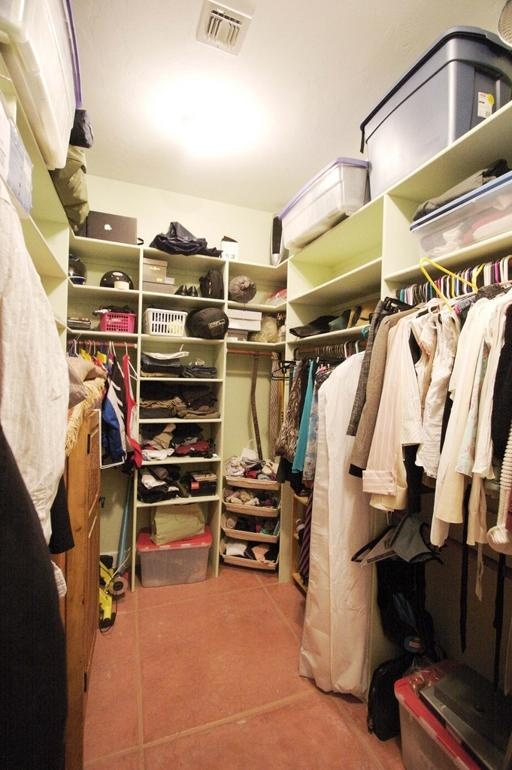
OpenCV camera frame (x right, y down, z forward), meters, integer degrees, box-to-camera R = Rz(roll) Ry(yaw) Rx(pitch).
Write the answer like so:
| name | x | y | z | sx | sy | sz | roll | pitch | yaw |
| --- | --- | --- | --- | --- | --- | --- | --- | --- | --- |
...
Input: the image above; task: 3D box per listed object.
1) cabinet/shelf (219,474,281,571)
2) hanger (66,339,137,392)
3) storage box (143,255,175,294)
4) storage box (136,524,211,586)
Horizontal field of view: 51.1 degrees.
| name | x | y | z | sx | sy | sz | roll | pitch | yaw |
| --- | --- | --- | --- | --- | --- | --- | --- | --- | --- |
| cabinet/shelf | -0.089 | 0.732 | 3.366 | 0.394 | 0.841 | 0.583 | 2 | -3 | -9 |
| hanger | -0.707 | -0.093 | 2.452 | 0.165 | 0.267 | 0.086 | -4 | -7 | -10 |
| storage box | -0.532 | -0.588 | 2.914 | 0.184 | 0.182 | 0.082 | -1 | 6 | -26 |
| storage box | -0.444 | 0.916 | 2.892 | 0.315 | 0.219 | 0.249 | 0 | -4 | -17 |
